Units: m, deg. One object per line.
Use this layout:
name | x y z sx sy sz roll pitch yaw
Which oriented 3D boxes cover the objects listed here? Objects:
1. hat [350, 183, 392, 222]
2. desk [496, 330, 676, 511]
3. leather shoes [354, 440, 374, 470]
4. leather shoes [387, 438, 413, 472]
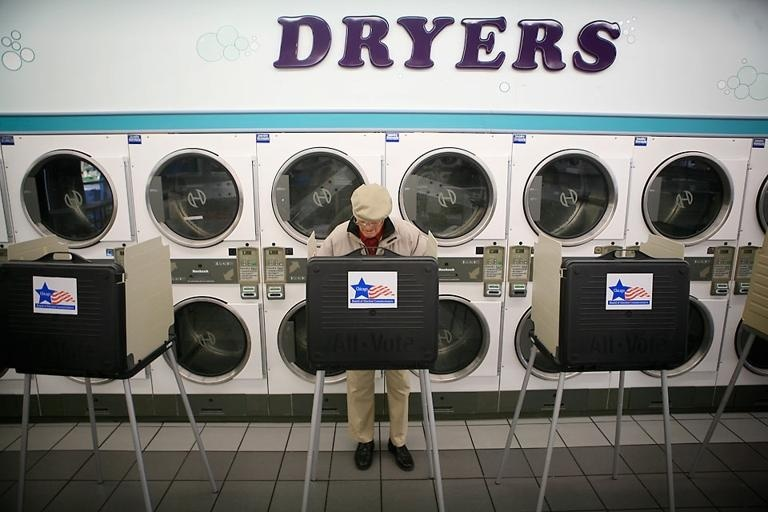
hat | -0.091 -0.374 4.123 0.270 0.256 0.129 -1 9 3
desk | 1.458 1.231 4.410 1.263 1.195 0.902 -3 9 -5
leather shoes | -0.160 1.570 4.582 0.091 0.107 0.260 3 30 0
leather shoes | 0.133 1.575 4.620 0.097 0.107 0.265 -3 15 -29
